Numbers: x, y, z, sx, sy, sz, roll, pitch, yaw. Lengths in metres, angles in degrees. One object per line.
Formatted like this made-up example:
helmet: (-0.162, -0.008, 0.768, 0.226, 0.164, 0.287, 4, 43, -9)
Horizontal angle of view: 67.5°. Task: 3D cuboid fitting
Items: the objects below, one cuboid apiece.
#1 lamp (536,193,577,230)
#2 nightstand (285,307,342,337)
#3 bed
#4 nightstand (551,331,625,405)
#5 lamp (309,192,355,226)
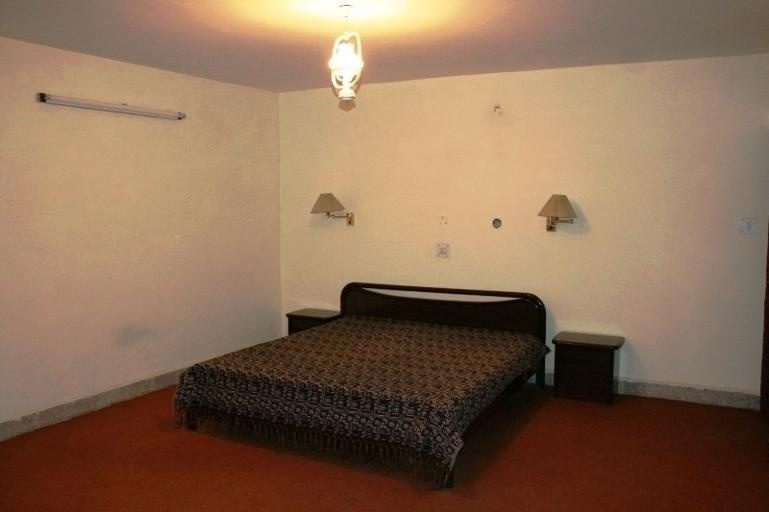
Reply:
lamp: (1.865, -0.476, 6.212, 0.392, 0.404, 0.368, 1, 0, 13)
nightstand: (-0.862, 0.785, 7.149, 0.462, 0.476, 0.352, 2, 4, 27)
bed: (-0.071, 1.074, 5.826, 2.605, 0.934, 2.997, 9, 16, 31)
nightstand: (2.107, 1.154, 6.200, 0.723, 0.687, 0.476, 2, 15, 10)
lamp: (-0.653, -0.547, 7.195, 0.529, 0.478, 0.418, -9, 15, -16)
